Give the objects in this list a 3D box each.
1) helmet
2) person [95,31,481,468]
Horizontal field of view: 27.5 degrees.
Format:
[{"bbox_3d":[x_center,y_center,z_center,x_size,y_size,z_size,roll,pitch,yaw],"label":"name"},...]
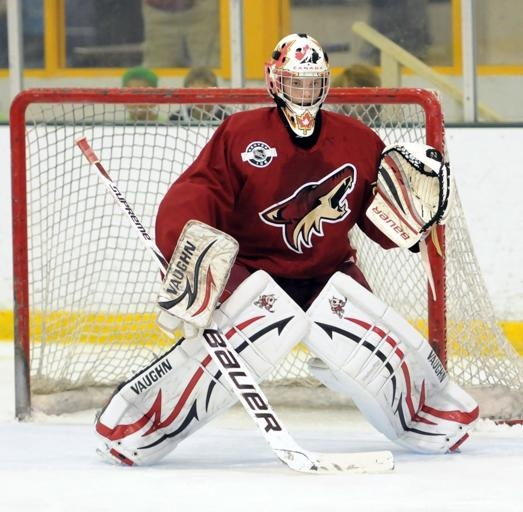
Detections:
[{"bbox_3d":[0.114,-0.618,3.526,0.206,0.241,0.267,-6,22,-25],"label":"helmet"},{"bbox_3d":[0.088,-0.014,3.570,1.255,1.396,0.735,0,14,-7],"label":"person"}]
